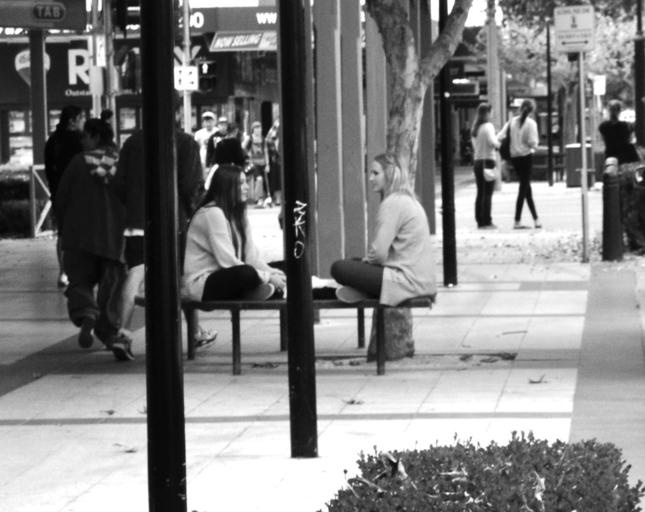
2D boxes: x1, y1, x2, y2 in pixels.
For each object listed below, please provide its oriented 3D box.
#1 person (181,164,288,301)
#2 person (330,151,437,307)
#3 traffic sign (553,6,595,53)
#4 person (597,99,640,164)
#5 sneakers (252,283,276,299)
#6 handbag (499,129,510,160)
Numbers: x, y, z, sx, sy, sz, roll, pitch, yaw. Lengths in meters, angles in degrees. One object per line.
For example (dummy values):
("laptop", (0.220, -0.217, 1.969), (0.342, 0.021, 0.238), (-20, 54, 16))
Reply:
("person", (-0.717, -0.110, 9.613), (0.859, 1.294, 1.209), (0, 0, 5))
("person", (0.398, -0.278, 9.112), (0.924, 1.573, 1.083), (3, 4, 29))
("traffic sign", (3.525, -3.159, 15.507), (0.575, 0.784, 0.074), (1, 1, 10))
("person", (4.876, -2.024, 18.176), (0.686, 1.030, 1.521), (6, 7, 14))
("sneakers", (-0.475, 0.300, 9.086), (0.230, 0.088, 0.095), (-30, -27, 30))
("handbag", (3.322, -2.032, 20.200), (0.144, 0.568, 0.387), (2, 18, 0))
